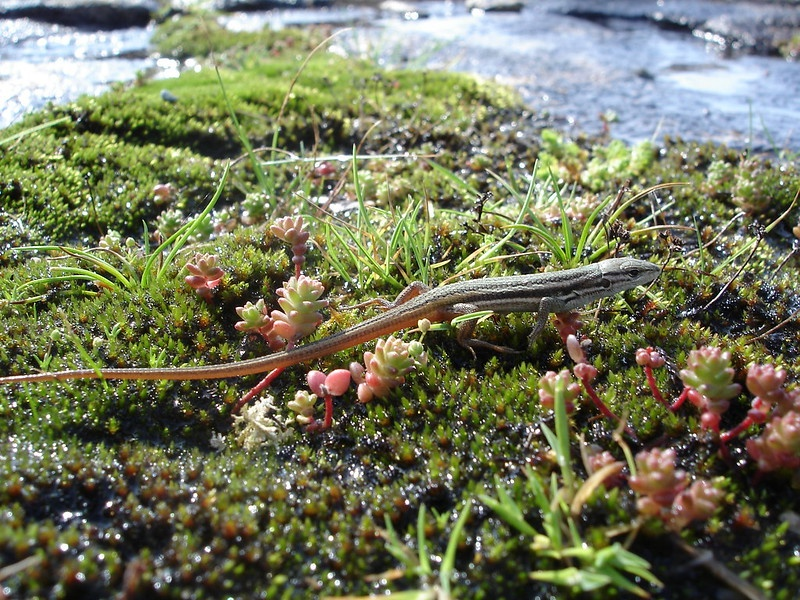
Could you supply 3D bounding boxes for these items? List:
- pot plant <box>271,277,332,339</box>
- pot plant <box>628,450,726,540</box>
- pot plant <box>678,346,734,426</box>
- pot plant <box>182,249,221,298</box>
[{"bbox_3d":[-0.992,0.121,7.525,0.545,0.710,0.478,-7,37,-11],"label":"pot plant"},{"bbox_3d":[2.292,1.594,6.352,0.774,0.742,0.374,4,36,3],"label":"pot plant"},{"bbox_3d":[2.700,0.732,6.681,0.352,0.710,0.490,-2,24,-30],"label":"pot plant"},{"bbox_3d":[-1.943,-0.278,7.779,0.385,0.443,0.481,11,20,-17],"label":"pot plant"}]
